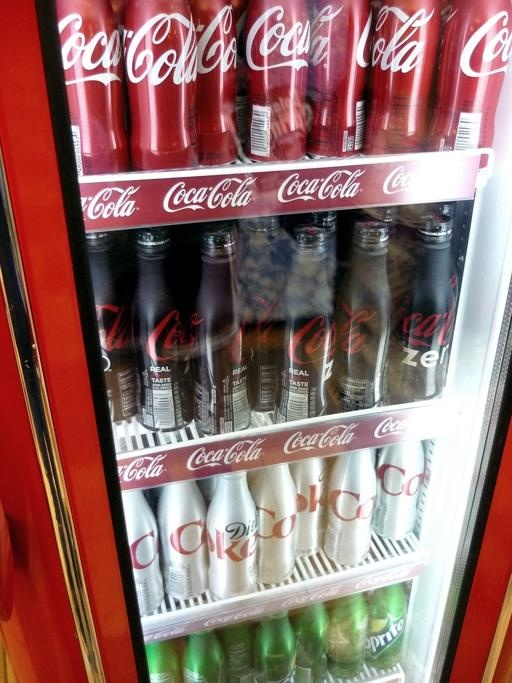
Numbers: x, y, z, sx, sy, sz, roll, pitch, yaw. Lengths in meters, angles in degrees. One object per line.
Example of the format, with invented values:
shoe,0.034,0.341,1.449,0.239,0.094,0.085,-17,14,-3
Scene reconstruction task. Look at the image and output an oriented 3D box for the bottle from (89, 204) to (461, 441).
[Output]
bottle,0.011,-0.034,0.784,0.352,0.223,0.064,-8,27,-13
